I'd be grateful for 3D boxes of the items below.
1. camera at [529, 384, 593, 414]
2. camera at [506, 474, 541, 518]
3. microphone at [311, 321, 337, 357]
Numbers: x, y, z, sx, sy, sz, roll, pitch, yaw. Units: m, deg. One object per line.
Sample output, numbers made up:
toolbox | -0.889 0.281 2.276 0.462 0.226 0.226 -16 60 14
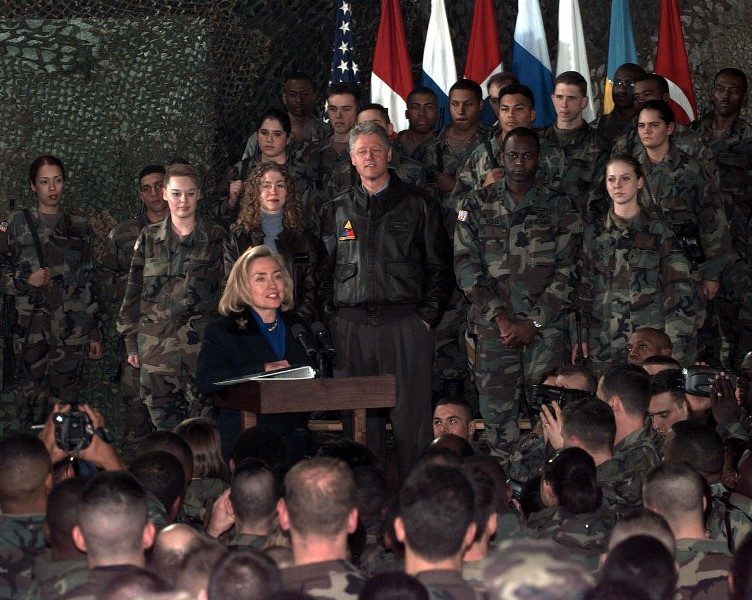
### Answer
camera | 0.929 0.522 4.222 0.278 0.139 0.436 -1 3 10
camera | 0.696 0.894 3.824 0.074 0.165 0.164 29 18 -43
microphone | -0.337 0.237 5.247 0.125 0.201 0.338 -2 3 -5
